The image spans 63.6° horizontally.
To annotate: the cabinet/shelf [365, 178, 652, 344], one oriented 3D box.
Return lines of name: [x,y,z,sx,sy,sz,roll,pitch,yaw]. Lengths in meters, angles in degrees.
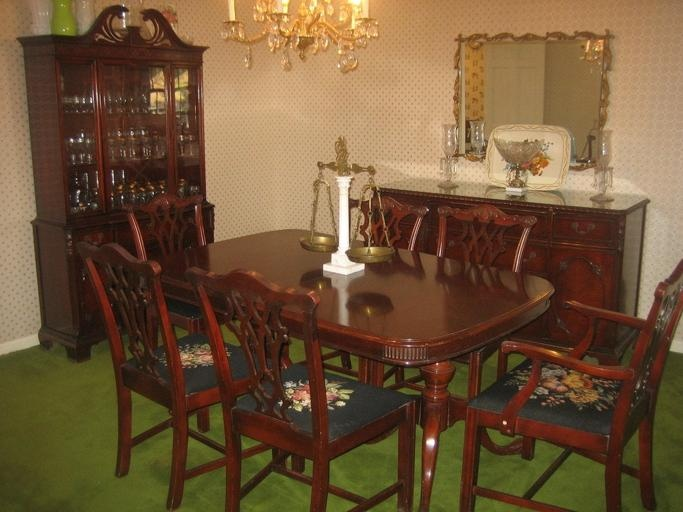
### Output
cabinet/shelf: [1.261,0.091,4.400,2.011,1.080,0.775,8,14,36]

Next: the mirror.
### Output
mirror: [1.512,-1.231,4.268,1.190,1.049,0.056,7,15,29]

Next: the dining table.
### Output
dining table: [0.265,0.315,2.689,1.904,0.966,1.253,12,20,42]
